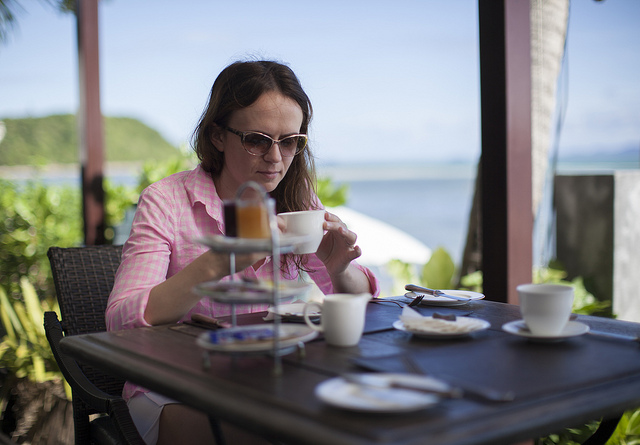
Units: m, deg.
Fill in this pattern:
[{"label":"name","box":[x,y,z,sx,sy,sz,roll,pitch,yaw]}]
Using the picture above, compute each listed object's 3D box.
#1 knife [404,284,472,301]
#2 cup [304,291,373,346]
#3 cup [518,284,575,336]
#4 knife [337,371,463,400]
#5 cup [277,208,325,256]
[{"label":"knife","box":[0.405,0.249,1.925,0.079,0.035,0.268,-9,11,-41]},{"label":"cup","box":[0.057,0.265,1.480,0.184,0.126,0.110,-2,4,-10]},{"label":"cup","box":[0.590,0.227,1.433,0.131,0.115,0.139,1,-7,0]},{"label":"knife","box":[0.177,0.355,1.174,0.249,0.031,0.043,2,9,20]},{"label":"cup","box":[-0.044,0.018,1.660,0.139,0.110,0.135,-12,-1,0]}]
